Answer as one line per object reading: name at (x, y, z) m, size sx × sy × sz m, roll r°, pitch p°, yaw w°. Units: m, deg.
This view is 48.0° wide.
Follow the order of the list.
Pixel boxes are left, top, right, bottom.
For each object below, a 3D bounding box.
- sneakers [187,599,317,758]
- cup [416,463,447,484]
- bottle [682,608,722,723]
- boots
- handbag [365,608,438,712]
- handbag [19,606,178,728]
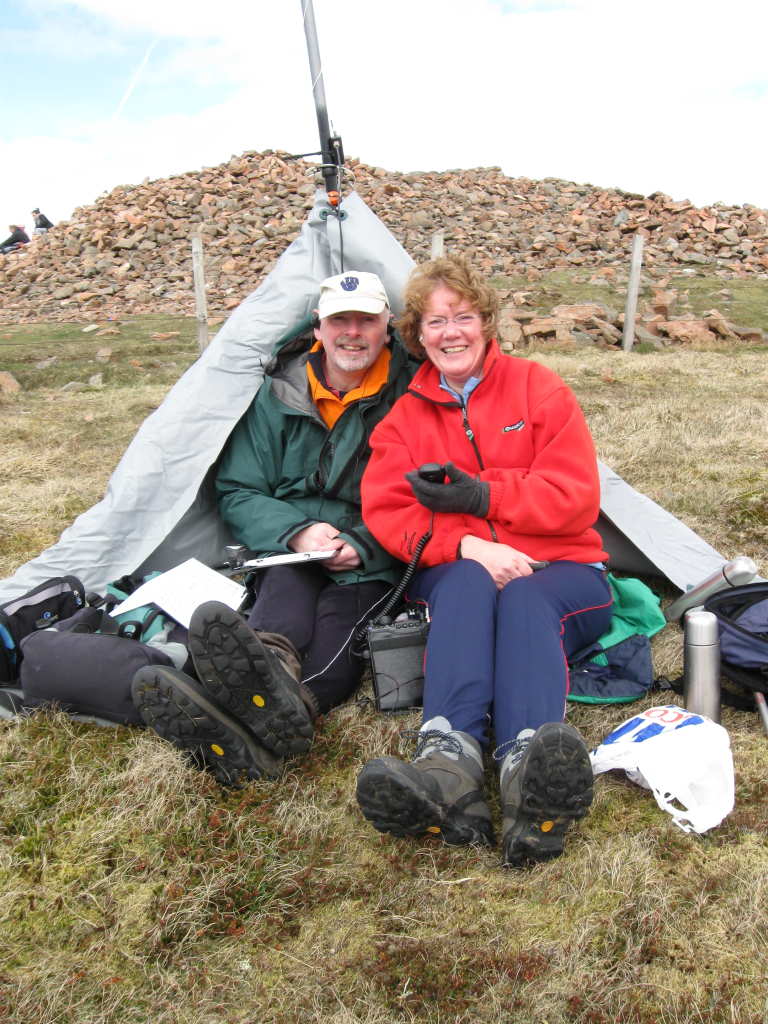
sneakers at (-0.355, 0.461, 2.313) m, size 0.192 × 0.467 × 0.223 m, roll -35°, pitch 14°, yaw 9°
cup at (0.159, -0.123, 2.787) m, size 0.089 × 0.057 × 0.119 m, roll -1°, pitch 2°, yaw 5°
bottle at (0.936, 0.451, 2.551) m, size 0.108 × 0.313 × 0.155 m, roll 3°, pitch 18°, yaw 18°
boots at (0.324, 0.655, 2.017) m, size 0.167 × 0.443 × 0.216 m, roll 11°, pitch 43°, yaw 3°
handbag at (0.062, 0.494, 2.846) m, size 0.237 × 0.259 × 0.203 m, roll -7°, pitch 17°, yaw -6°
handbag at (-0.909, 0.420, 2.595) m, size 0.419 × 0.131 × 0.295 m, roll -2°, pitch 15°, yaw -26°
